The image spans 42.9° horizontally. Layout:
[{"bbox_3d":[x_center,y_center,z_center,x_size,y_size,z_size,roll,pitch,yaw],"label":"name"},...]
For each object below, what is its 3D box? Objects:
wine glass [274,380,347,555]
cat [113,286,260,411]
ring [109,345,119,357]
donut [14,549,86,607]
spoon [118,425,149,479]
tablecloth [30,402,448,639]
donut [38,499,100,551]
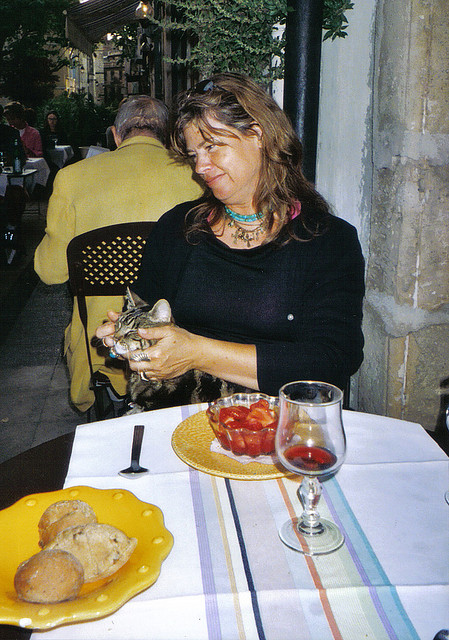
[{"bbox_3d":[0.147,0.255,0.993,0.129,0.247,0.121,-2,5,1],"label":"wine glass"},{"bbox_3d":[-0.150,0.182,1.797,0.523,0.409,0.172,14,0,-35],"label":"cat"},{"bbox_3d":[-0.288,0.084,1.500,0.012,0.031,0.023,-25,21,-12],"label":"ring"},{"bbox_3d":[-0.250,0.367,0.812,0.096,0.049,0.094,1,14,1],"label":"donut"},{"bbox_3d":[-0.187,0.263,1.196,0.067,0.137,0.059,5,5,-4],"label":"spoon"},{"bbox_3d":[0.063,0.327,1.094,0.781,0.054,0.733,2,14,5],"label":"tablecloth"},{"bbox_3d":[-0.255,0.332,0.932,0.093,0.033,0.098,-4,15,-19],"label":"donut"}]
